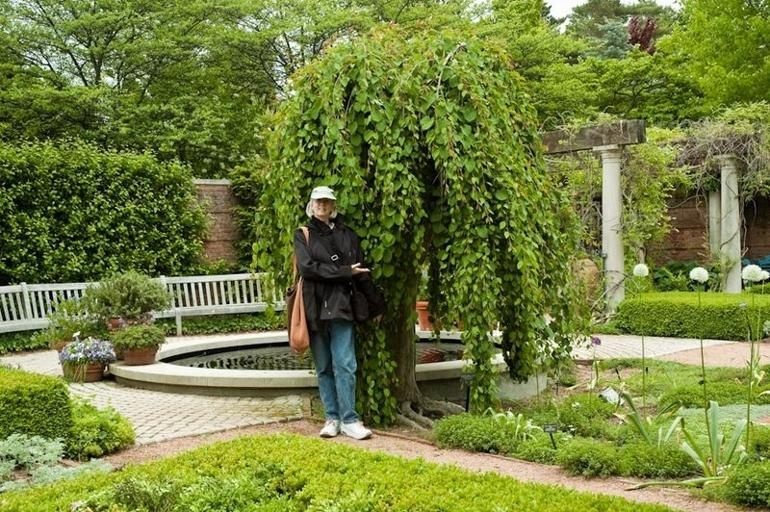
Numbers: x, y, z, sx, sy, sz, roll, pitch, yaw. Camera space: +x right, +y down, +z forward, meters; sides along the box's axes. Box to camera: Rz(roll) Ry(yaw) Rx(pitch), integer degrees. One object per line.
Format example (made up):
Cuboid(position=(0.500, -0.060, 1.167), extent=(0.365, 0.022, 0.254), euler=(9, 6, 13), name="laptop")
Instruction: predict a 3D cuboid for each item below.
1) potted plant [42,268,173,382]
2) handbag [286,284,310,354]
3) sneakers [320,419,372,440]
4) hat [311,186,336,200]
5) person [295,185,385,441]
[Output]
Cuboid(position=(-3.755, 1.033, 9.821), extent=(1.666, 1.122, 1.571), euler=(-3, 6, -23), name="potted plant")
Cuboid(position=(-0.862, 0.611, 7.193), extent=(0.210, 0.585, 0.287), euler=(-4, -1, -9), name="handbag")
Cuboid(position=(-0.360, 1.742, 7.248), extent=(0.553, 0.236, 0.198), euler=(-1, -2, 7), name="sneakers")
Cuboid(position=(-0.613, -0.629, 7.237), extent=(0.246, 0.112, 0.170), euler=(-3, -2, -9), name="hat")
Cuboid(position=(-0.458, 0.576, 7.240), extent=(0.802, 2.087, 0.363), euler=(-4, -1, -8), name="person")
